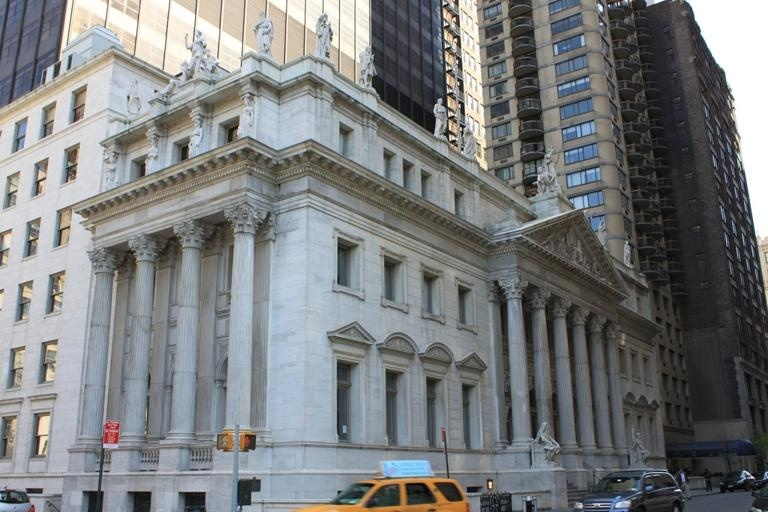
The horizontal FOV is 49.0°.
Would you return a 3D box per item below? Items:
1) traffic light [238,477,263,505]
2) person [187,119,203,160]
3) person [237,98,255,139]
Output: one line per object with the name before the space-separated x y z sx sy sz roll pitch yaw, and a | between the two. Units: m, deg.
traffic light | -7.682 13.238 47.532 1.043 1.437 1.374 -8 -25 11
person | -13.397 -8.507 60.161 0.948 3.384 0.683 -7 -25 7
person | -9.522 -9.813 58.589 1.023 3.150 0.918 -2 -25 -2
